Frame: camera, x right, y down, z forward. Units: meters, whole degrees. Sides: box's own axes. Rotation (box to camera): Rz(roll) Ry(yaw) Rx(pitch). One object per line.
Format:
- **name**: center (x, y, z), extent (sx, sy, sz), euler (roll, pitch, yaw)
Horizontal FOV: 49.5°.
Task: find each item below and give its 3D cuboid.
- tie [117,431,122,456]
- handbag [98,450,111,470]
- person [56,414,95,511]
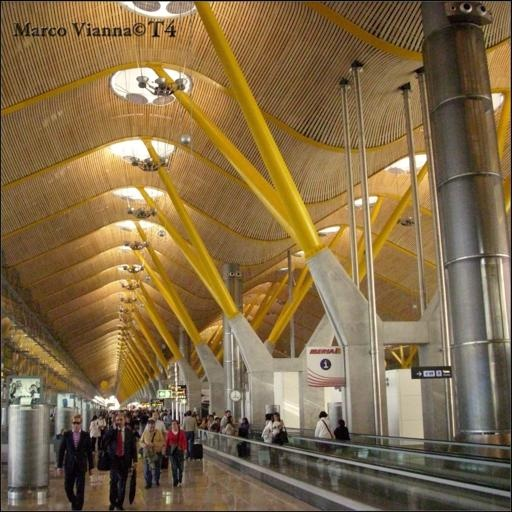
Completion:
- **tie**: center (-2.002, 2.715, 8.119), extent (0.112, 0.370, 0.093), euler (3, -17, -19)
- **handbag**: center (-2.258, 2.997, 8.217), extent (0.180, 0.257, 0.341), euler (1, -17, -15)
- **person**: center (-2.538, 2.862, 7.766), extent (0.467, 1.275, 1.041), euler (3, -17, -18)
